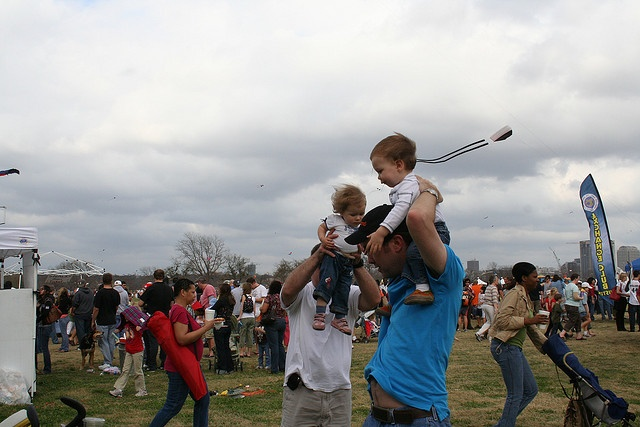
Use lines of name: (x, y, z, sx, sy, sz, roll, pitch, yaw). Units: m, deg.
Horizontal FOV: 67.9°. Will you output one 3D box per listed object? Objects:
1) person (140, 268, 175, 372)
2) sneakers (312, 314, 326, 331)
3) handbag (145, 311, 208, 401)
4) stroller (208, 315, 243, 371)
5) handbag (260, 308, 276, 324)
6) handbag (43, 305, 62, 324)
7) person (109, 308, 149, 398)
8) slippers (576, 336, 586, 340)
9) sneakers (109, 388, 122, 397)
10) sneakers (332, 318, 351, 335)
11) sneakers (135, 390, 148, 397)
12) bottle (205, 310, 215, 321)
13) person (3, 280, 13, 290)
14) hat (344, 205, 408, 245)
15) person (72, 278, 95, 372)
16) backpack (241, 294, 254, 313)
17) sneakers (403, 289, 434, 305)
person: (-4.677, 3.017, 13.523, 1.003, 2.795, 0.844, 4, -11, -32)
sneakers: (-0.011, 1.383, 6.022, 0.170, 0.210, 0.098, -4, -8, -1)
handbag: (-2.315, 2.307, 7.719, 0.909, 1.413, 0.272, -6, -9, 14)
stroller: (-2.966, 4.245, 15.340, 1.009, 1.335, 0.991, -12, 3, -32)
handbag: (-1.478, 2.906, 13.464, 0.429, 0.400, 0.231, 5, -22, 5)
handbag: (-8.415, 3.137, 14.912, 0.346, 0.480, 0.483, 23, 7, 33)
person: (-4.563, 3.340, 11.429, 0.907, 2.043, 0.886, 0, -12, -9)
slippers: (9.999, 4.772, 18.163, 0.443, 0.149, 0.150, 2, -4, -8)
sneakers: (-4.888, 4.290, 11.352, 0.287, 0.196, 0.290, -1, -9, -22)
sneakers: (0.279, 1.417, 6.071, 0.313, 0.131, 0.128, 25, 4, 24)
sneakers: (-4.300, 4.333, 11.421, 0.284, 0.121, 0.116, 4, -7, -8)
bottle: (-1.886, 1.740, 8.107, 0.166, 0.150, 0.159, 2, -3, -13)
person: (-8.603, 1.958, 13.076, 0.148, 0.238, 1.445, 2, -10, -34)
hat: (0.629, 0.130, 5.434, 0.660, 0.364, 0.425, -4, -1, 2)
person: (-7.760, 3.465, 15.326, 0.792, 2.627, 0.894, -14, -18, 16)
backpack: (-2.397, 2.991, 15.680, 0.362, 0.653, 0.629, -2, -8, -11)
sneakers: (1.011, 0.879, 4.960, 0.297, 0.193, 0.133, 2, -37, 1)
